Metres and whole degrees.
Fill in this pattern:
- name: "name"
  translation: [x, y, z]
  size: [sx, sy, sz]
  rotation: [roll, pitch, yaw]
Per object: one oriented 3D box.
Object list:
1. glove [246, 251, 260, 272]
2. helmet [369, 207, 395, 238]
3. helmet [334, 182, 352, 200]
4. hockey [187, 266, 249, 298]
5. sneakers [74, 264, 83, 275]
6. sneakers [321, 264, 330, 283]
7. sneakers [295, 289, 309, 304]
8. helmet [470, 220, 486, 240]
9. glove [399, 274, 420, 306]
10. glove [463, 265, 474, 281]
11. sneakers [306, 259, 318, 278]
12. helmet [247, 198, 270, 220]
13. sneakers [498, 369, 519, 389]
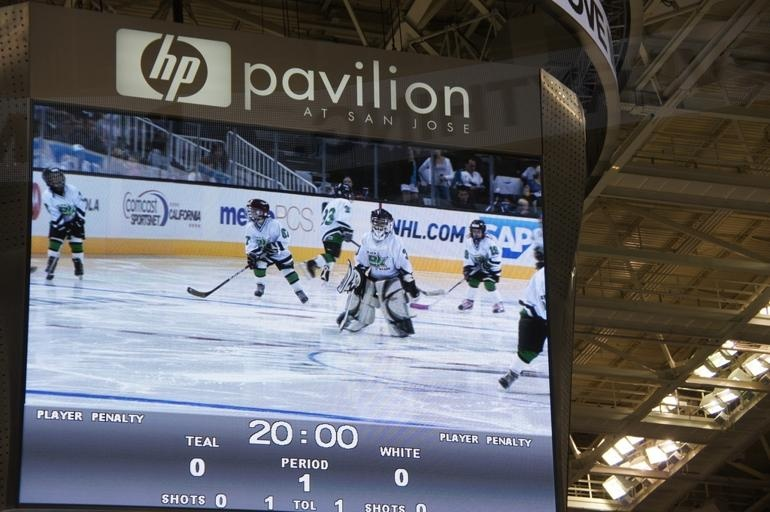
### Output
- name: "glove"
  translation: [-1.560, 0.057, 14.778]
  size: [0.144, 0.182, 0.087]
  rotation: [9, -5, 26]
- name: "helmet"
  translation: [-0.057, -0.394, 15.130]
  size: [0.300, 0.344, 0.367]
  rotation: [5, 14, 3]
- name: "helmet"
  translation: [-0.496, -0.777, 14.973]
  size: [0.201, 0.177, 0.166]
  rotation: [-1, 5, -18]
- name: "hockey"
  translation: [-1.988, 0.313, 14.643]
  size: [0.104, 0.503, 0.072]
  rotation: [55, -2, 42]
- name: "sneakers"
  translation: [-3.524, 0.155, 14.432]
  size: [0.119, 0.160, 0.119]
  rotation: [0, -6, -17]
- name: "sneakers"
  translation: [-0.704, 0.206, 14.894]
  size: [0.114, 0.188, 0.071]
  rotation: [18, -17, -28]
- name: "sneakers"
  translation: [-0.973, 0.478, 14.792]
  size: [0.082, 0.222, 0.081]
  rotation: [-37, -8, 2]
- name: "helmet"
  translation: [1.118, -0.317, 15.094]
  size: [0.205, 0.226, 0.240]
  rotation: [0, 3, 7]
- name: "glove"
  translation: [0.296, 0.369, 15.014]
  size: [0.155, 0.455, 0.185]
  rotation: [-26, 7, -8]
- name: "glove"
  translation: [0.991, 0.198, 14.978]
  size: [0.118, 0.172, 0.084]
  rotation: [7, 21, 14]
- name: "sneakers"
  translation: [-0.867, 0.138, 14.920]
  size: [0.106, 0.238, 0.089]
  rotation: [-12, -3, -1]
- name: "helmet"
  translation: [-1.492, -0.568, 14.927]
  size: [0.265, 0.200, 0.198]
  rotation: [19, -7, -2]
- name: "sneakers"
  translation: [1.452, 1.450, 14.788]
  size: [0.157, 0.233, 0.112]
  rotation: [39, -24, 15]
